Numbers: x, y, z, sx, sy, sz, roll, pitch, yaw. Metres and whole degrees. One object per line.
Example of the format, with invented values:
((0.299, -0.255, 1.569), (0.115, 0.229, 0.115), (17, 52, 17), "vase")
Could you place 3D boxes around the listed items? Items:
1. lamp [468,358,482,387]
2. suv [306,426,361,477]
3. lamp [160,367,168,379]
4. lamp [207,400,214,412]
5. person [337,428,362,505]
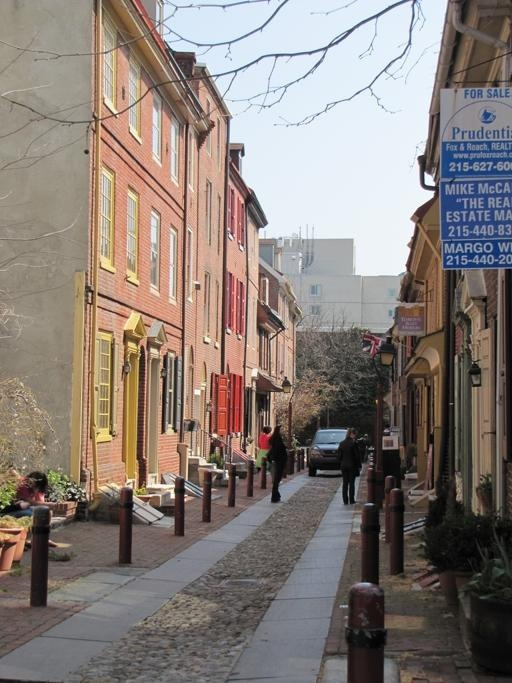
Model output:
((2.528, 0.379, 9.742), (0.147, 0.306, 0.421), (-1, -6, 14), "lamp")
((2.736, 4.073, 30.625), (1.639, 2.001, 3.816), (1, -8, 7), "suv")
((-2.142, 0.769, 19.675), (0.158, 0.349, 0.190), (0, -1, -9), "lamp")
((-1.418, 2.028, 25.988), (0.216, 0.477, 0.237), (0, -1, 10), "lamp")
((2.006, 2.703, 18.158), (0.467, 1.567, 1.695), (0, -6, 6), "person")
